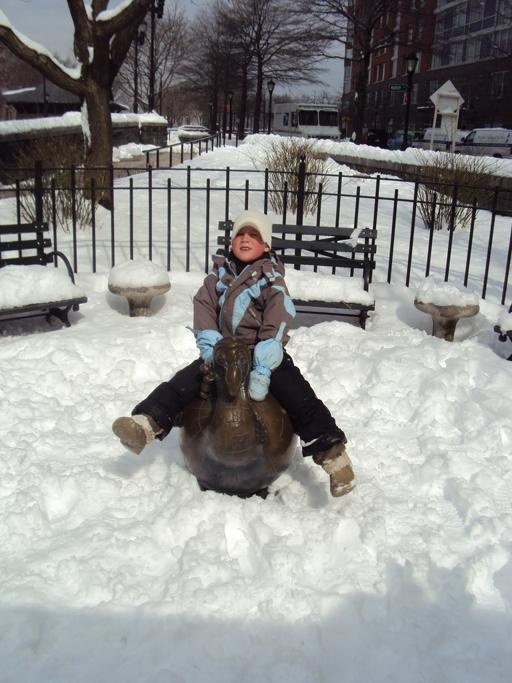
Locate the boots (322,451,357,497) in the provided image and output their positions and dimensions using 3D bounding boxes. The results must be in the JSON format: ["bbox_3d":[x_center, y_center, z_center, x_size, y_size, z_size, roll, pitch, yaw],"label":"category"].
[{"bbox_3d":[0.384,0.632,2.410,0.146,0.259,0.108,13,16,42],"label":"boots"}]

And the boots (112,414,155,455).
[{"bbox_3d":[-0.550,0.429,2.365,0.132,0.186,0.175,9,13,29],"label":"boots"}]

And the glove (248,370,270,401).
[{"bbox_3d":[0.009,0.216,2.368,0.080,0.058,0.140,6,60,-3],"label":"glove"}]

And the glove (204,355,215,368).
[{"bbox_3d":[-0.217,0.092,2.406,0.045,0.057,0.063,0,-3,6],"label":"glove"}]

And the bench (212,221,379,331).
[{"bbox_3d":[0.391,-0.525,4.205,1.319,0.887,0.571,3,41,7],"label":"bench"}]

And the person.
[{"bbox_3d":[-0.123,-0.020,2.641,1.022,1.299,0.968,1,12,-8],"label":"person"}]

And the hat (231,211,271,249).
[{"bbox_3d":[-0.024,-0.656,2.932,0.161,0.186,0.235,2,13,9],"label":"hat"}]
